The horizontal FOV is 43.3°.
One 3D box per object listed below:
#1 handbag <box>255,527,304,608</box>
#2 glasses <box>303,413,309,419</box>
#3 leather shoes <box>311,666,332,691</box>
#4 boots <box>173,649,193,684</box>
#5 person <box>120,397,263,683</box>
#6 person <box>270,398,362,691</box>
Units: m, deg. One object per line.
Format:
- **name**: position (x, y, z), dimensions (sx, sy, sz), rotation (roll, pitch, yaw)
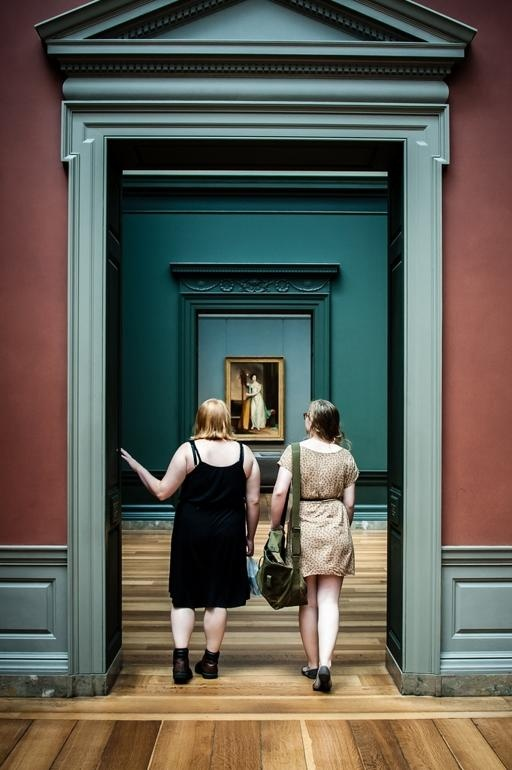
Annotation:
- **handbag**: position (0.109, 0.871, 3.135), dimensions (0.181, 0.413, 0.257), rotation (-3, 7, -35)
- **glasses**: position (0.249, 0.162, 3.214), dimensions (0.030, 0.016, 0.033), rotation (3, -2, 3)
- **leather shoes**: position (0.317, 1.396, 3.079), dimensions (0.057, 0.085, 0.178), rotation (-1, -13, 0)
- **boots**: position (-0.371, 1.387, 3.223), dimensions (0.095, 0.176, 0.151), rotation (1, -2, -8)
- **person**: position (-0.274, 0.777, 3.244), dimensions (0.554, 1.397, 0.227), rotation (0, -2, 0)
- **person**: position (0.294, 0.781, 3.188), dimensions (0.450, 1.400, 0.365), rotation (1, -2, -4)
